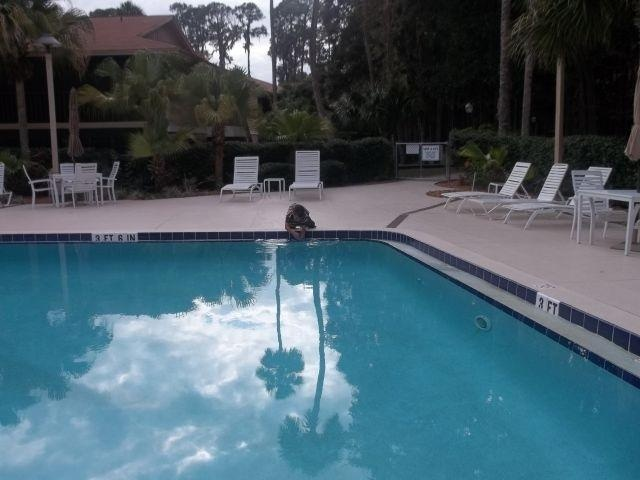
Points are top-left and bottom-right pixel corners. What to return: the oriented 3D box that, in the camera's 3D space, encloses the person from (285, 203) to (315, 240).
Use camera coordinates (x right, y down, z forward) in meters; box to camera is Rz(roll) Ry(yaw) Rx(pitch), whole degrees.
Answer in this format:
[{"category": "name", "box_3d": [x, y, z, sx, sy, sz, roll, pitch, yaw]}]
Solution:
[{"category": "person", "box_3d": [-0.382, -0.302, 9.856, 0.392, 0.773, 0.710, -8, -9, 3]}]
